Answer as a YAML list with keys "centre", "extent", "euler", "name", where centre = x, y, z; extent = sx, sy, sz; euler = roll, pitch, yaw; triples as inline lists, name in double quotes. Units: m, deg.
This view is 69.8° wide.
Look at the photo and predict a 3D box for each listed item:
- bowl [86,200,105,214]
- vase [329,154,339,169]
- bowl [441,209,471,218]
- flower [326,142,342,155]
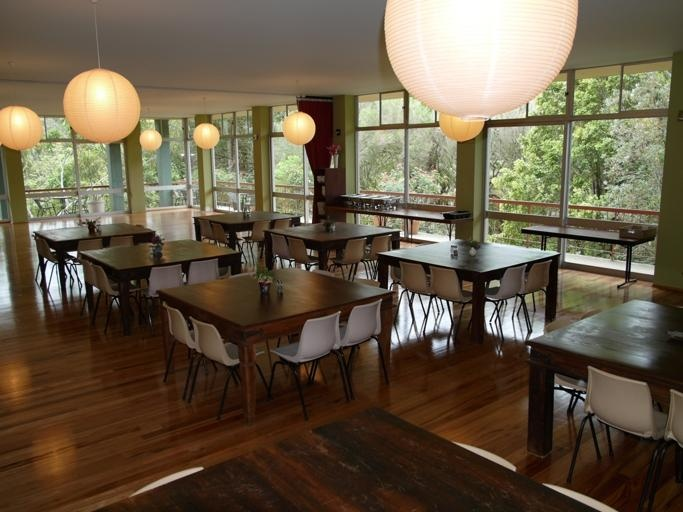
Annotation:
- centre: [-8.842, -1.777, 17.632]
  extent: [0.510, 0.451, 0.483]
  euler: [1, 13, 0]
  name: "bowl"
- centre: [-0.184, -2.587, 13.236]
  extent: [0.221, 0.342, 0.418]
  euler: [0, 11, 8]
  name: "vase"
- centre: [2.459, -0.873, 10.353]
  extent: [0.475, 0.085, 0.272]
  euler: [-5, 11, -34]
  name: "bowl"
- centre: [-0.152, -2.815, 12.828]
  extent: [0.370, 0.237, 0.336]
  euler: [-8, 13, -32]
  name: "flower"
